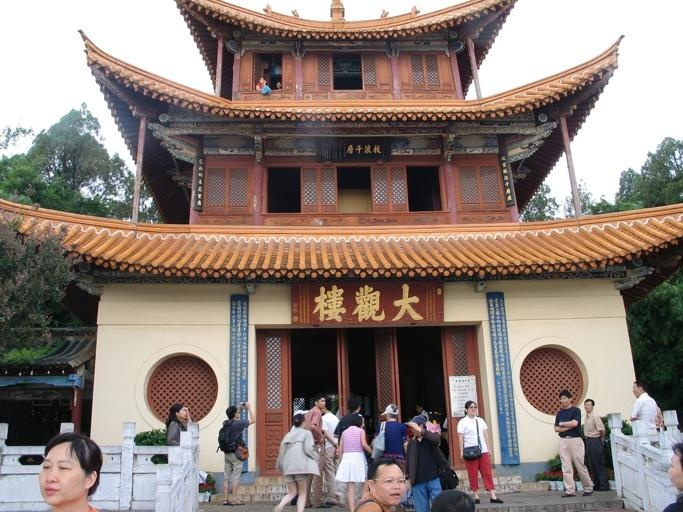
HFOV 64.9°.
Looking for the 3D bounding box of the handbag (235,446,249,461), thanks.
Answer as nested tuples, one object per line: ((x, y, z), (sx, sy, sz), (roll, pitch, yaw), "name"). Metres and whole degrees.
((-1.683, 3.277, 8.986), (0.189, 0.250, 0.093), (-18, -42, -33), "handbag")

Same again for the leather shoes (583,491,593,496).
((4.151, 4.000, 9.074), (0.181, 0.066, 0.077), (-5, 24, 11), "leather shoes")

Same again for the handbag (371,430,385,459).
((0.536, 2.709, 7.765), (0.184, 0.353, 0.353), (1, 14, 5), "handbag")

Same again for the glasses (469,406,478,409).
((2.105, 2.412, 8.630), (0.087, 0.029, 0.093), (1, -29, 0), "glasses")

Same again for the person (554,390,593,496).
((4.050, 3.316, 9.341), (0.676, 1.774, 1.053), (6, 14, 24), "person")

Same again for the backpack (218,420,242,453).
((-1.892, 3.056, 9.124), (0.422, 0.548, 0.304), (-13, -20, 40), "backpack")

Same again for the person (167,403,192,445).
((-2.660, 2.770, 8.742), (0.385, 0.481, 0.880), (-5, 15, -20), "person")

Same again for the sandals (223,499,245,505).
((-1.803, 4.094, 8.964), (0.193, 0.102, 0.368), (6, -24, -6), "sandals")

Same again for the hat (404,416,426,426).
((1.073, 2.271, 7.444), (0.247, 0.146, 0.161), (5, -13, -17), "hat")
